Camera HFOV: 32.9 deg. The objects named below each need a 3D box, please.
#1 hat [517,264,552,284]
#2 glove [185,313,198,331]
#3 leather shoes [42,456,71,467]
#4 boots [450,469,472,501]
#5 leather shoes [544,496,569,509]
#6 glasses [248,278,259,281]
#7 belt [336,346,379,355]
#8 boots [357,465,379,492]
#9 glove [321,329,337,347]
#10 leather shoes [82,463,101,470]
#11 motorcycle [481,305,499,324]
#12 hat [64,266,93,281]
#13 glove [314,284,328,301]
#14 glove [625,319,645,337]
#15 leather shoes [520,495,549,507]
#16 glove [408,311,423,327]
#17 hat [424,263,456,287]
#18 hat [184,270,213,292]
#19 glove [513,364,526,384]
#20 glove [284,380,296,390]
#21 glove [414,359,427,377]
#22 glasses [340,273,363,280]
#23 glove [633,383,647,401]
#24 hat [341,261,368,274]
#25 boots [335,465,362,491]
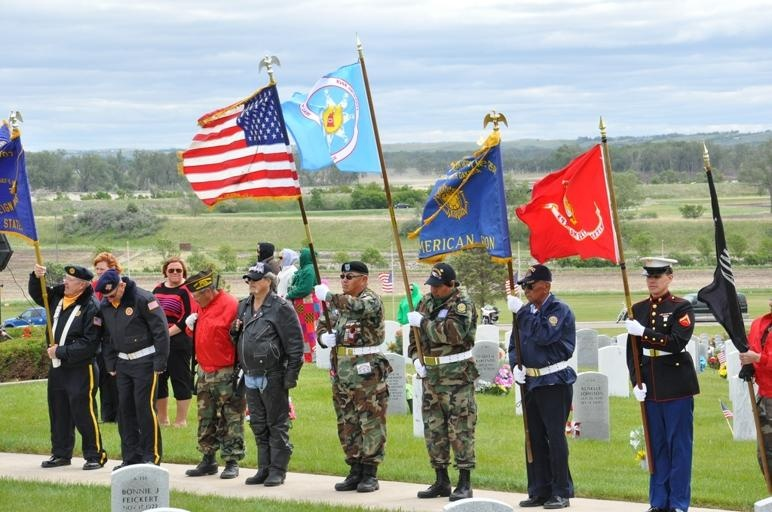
[{"bbox_3d":[2.524,0.305,22.070,0.483,0.249,0.296,-1,2,-9],"label":"hat"},{"bbox_3d":[-3.489,1.186,23.686,0.117,0.281,0.222,16,7,-38],"label":"glove"},{"bbox_3d":[-5.968,3.707,23.794,0.490,0.197,0.180,5,-8,-27],"label":"leather shoes"},{"bbox_3d":[1.248,3.817,22.065,0.386,0.412,0.297,-4,-2,-3],"label":"boots"},{"bbox_3d":[2.823,4.065,21.772,0.359,0.130,0.183,7,-11,-29],"label":"leather shoes"},{"bbox_3d":[-2.306,0.404,22.843,0.067,0.045,0.107,5,9,16],"label":"glasses"},{"bbox_3d":[-0.455,1.632,22.692,0.741,0.125,0.144,-3,-2,-7],"label":"belt"},{"bbox_3d":[-0.320,3.802,22.651,0.419,0.355,0.307,-3,-2,-17],"label":"boots"},{"bbox_3d":[-0.966,1.424,22.728,0.221,0.253,0.289,5,30,42],"label":"glove"},{"bbox_3d":[-5.281,3.750,23.559,0.264,0.106,0.124,10,-11,-41],"label":"leather shoes"},{"bbox_3d":[3.188,1.766,39.963,0.530,0.617,0.602,6,-46,5],"label":"motorcycle"},{"bbox_3d":[-5.558,0.282,23.639,0.365,0.127,0.320,19,6,10],"label":"hat"},{"bbox_3d":[-1.100,0.631,22.711,0.223,0.220,0.299,-4,-2,-7],"label":"glove"},{"bbox_3d":[4.114,1.175,21.617,0.315,0.238,0.219,-4,-2,-4],"label":"glove"},{"bbox_3d":[2.468,4.065,21.912,0.486,0.188,0.172,3,-4,-8],"label":"leather shoes"},{"bbox_3d":[0.495,1.064,22.317,0.256,0.245,0.240,3,-6,-13],"label":"glove"},{"bbox_3d":[0.947,0.320,22.356,0.494,0.269,0.335,-1,9,-34],"label":"hat"},{"bbox_3d":[-3.346,0.462,23.365,0.432,0.200,0.346,-8,11,27],"label":"hat"},{"bbox_3d":[2.256,1.984,22.126,0.221,0.280,0.125,-12,-6,2],"label":"glove"},{"bbox_3d":[-1.674,2.229,22.850,0.159,0.107,0.161,-2,-2,40],"label":"glove"},{"bbox_3d":[0.577,1.913,22.394,0.097,0.304,0.190,-13,-1,-29],"label":"glove"},{"bbox_3d":[-0.590,0.349,22.685,0.356,0.081,0.138,-4,-2,12],"label":"glasses"},{"bbox_3d":[4.196,2.233,21.601,0.209,0.264,0.218,-4,-2,13],"label":"glove"},{"bbox_3d":[-0.544,0.207,22.849,0.438,0.173,0.417,-3,-2,-2],"label":"hat"},{"bbox_3d":[-0.595,3.841,22.662,0.619,0.550,0.266,4,-9,-4],"label":"boots"}]
